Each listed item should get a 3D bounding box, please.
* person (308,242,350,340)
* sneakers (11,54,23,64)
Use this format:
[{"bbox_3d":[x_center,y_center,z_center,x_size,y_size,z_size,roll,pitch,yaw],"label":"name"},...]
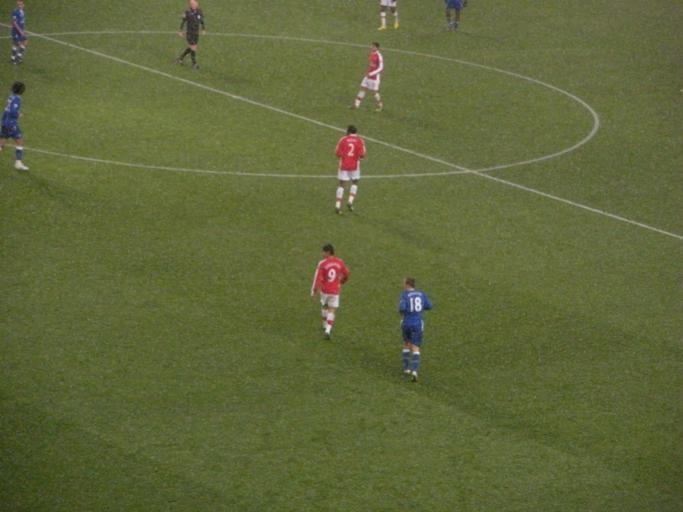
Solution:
[{"bbox_3d":[-0.317,0.893,31.692,0.741,2.217,0.872,15,22,17],"label":"person"},{"bbox_3d":[-11.139,-6.705,42.203,0.287,0.223,0.293,-8,45,-19],"label":"sneakers"}]
